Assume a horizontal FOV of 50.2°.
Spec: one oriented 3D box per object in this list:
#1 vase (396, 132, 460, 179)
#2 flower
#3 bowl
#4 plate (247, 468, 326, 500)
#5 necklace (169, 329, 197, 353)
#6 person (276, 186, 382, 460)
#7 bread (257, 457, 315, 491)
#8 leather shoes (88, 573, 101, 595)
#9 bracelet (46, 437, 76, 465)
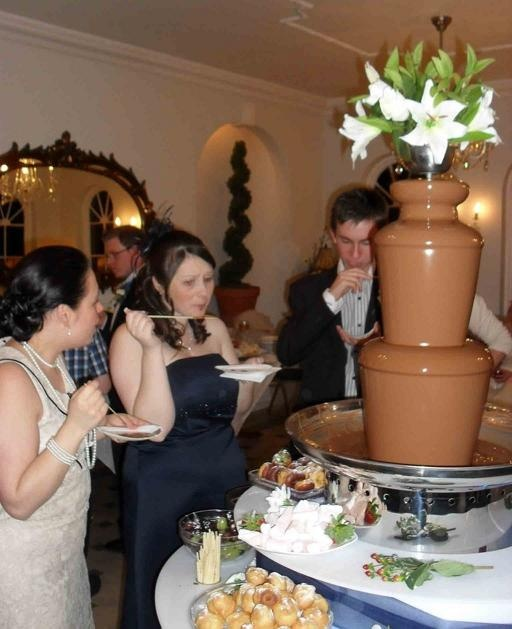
[{"bbox_3d":[0.325,-0.303,1.045,0.094,0.049,0.087,10,19,37],"label":"vase"},{"bbox_3d":[0.315,-0.397,1.048,0.281,0.257,0.251,3,10,20],"label":"flower"},{"bbox_3d":[-0.112,0.602,1.512,0.193,0.069,0.174,2,6,9],"label":"bowl"},{"bbox_3d":[0.069,0.455,1.476,0.141,0.018,0.083,-4,-1,44],"label":"plate"},{"bbox_3d":[-0.283,0.113,2.250,0.068,0.078,0.030,9,-39,-35],"label":"necklace"},{"bbox_3d":[0.346,-0.067,2.588,0.500,1.064,0.800,2,10,11],"label":"person"},{"bbox_3d":[0.091,0.442,1.513,0.088,0.021,0.083,-7,11,-35],"label":"bread"},{"bbox_3d":[-0.972,1.633,3.319,0.035,0.119,0.105,-19,5,-26],"label":"leather shoes"},{"bbox_3d":[-0.468,0.343,1.381,0.072,0.024,0.070,18,-17,44],"label":"bracelet"}]
